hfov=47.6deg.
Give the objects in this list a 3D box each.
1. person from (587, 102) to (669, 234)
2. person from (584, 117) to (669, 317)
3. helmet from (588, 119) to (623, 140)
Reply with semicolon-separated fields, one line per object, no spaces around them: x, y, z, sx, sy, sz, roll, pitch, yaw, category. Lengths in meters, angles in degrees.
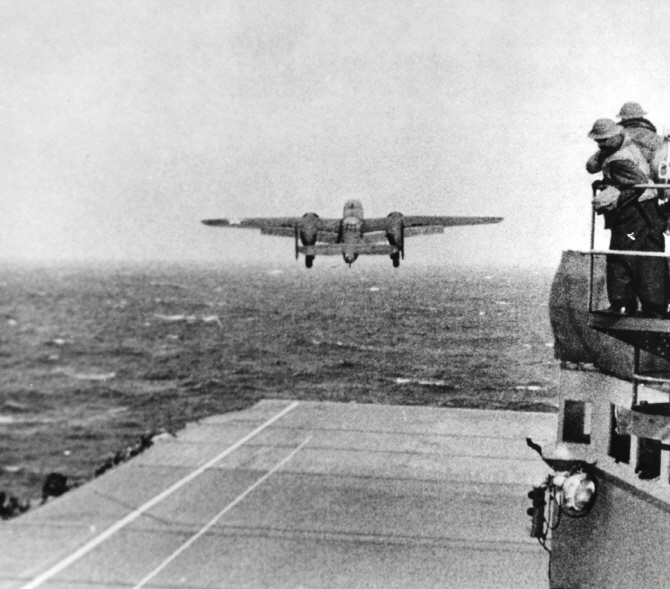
3.310;-1.377;8.231;0.907;1.379;0.479;3;-2;32;person
3.083;-0.835;7.968;0.800;2.029;0.786;1;4;21;person
2.853;-1.719;8.092;0.244;0.115;0.270;26;62;35;helmet
